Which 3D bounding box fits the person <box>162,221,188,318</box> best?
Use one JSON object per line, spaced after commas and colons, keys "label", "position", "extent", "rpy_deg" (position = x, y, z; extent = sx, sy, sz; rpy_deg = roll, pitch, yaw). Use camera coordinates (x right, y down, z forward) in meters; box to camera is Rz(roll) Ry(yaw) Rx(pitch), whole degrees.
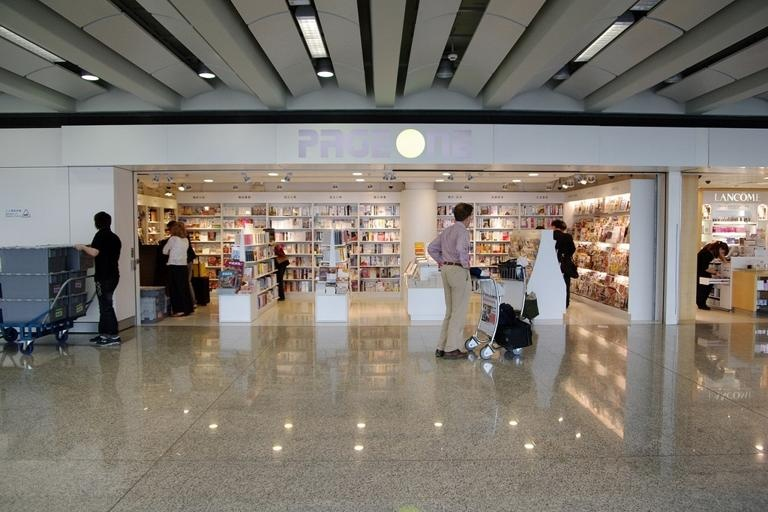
{"label": "person", "position": [-4.492, 0.272, 11.471], "extent": [0.514, 2.035, 0.347], "rpy_deg": [-2, 6, -21]}

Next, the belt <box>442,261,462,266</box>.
{"label": "belt", "position": [1.071, 0.111, 8.322], "extent": [0.311, 0.063, 0.070], "rpy_deg": [6, 9, 43]}

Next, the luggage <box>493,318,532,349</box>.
{"label": "luggage", "position": [2.127, 1.264, 8.683], "extent": [0.510, 0.392, 0.508], "rpy_deg": [-1, 3, -18]}

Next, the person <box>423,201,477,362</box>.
{"label": "person", "position": [1.072, 0.392, 8.418], "extent": [0.614, 2.454, 0.450], "rpy_deg": [1, 6, 16]}

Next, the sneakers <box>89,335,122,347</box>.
{"label": "sneakers", "position": [-4.863, 1.481, 9.274], "extent": [0.565, 0.242, 0.199], "rpy_deg": [3, -5, -8]}

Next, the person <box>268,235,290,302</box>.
{"label": "person", "position": [-2.763, 0.209, 13.812], "extent": [0.493, 1.853, 0.868], "rpy_deg": [-1, 6, -12]}

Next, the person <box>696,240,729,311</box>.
{"label": "person", "position": [7.558, 0.425, 12.240], "extent": [0.650, 1.548, 0.424], "rpy_deg": [-4, 6, -31]}

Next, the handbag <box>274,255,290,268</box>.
{"label": "handbag", "position": [-2.575, 0.148, 13.569], "extent": [0.328, 0.247, 0.441], "rpy_deg": [4, 1, 18]}

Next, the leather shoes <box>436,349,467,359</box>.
{"label": "leather shoes", "position": [1.073, 1.561, 8.487], "extent": [0.496, 0.191, 0.179], "rpy_deg": [-1, -1, 0]}
